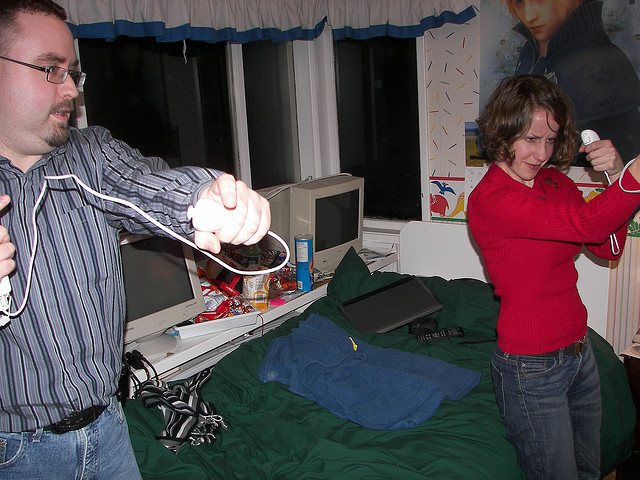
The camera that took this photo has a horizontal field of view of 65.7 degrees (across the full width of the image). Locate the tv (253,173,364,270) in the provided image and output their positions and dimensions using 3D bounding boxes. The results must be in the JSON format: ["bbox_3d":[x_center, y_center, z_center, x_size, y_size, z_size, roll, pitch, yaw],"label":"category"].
[{"bbox_3d":[0.027,-0.192,3.180,0.624,0.628,0.581,11,20,33],"label":"tv"}]

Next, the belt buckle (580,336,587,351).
[{"bbox_3d":[0.850,0.335,1.599,0.014,0.037,0.026,11,8,7],"label":"belt buckle"}]

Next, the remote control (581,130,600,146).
[{"bbox_3d":[0.874,-0.327,1.598,0.048,0.045,0.089,3,15,27],"label":"remote control"}]

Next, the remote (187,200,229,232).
[{"bbox_3d":[-0.233,-0.051,1.042,0.074,0.065,0.064,-9,14,-22],"label":"remote"}]

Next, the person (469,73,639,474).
[{"bbox_3d":[0.730,0.134,1.675,0.435,1.341,0.516,0,14,16],"label":"person"}]
